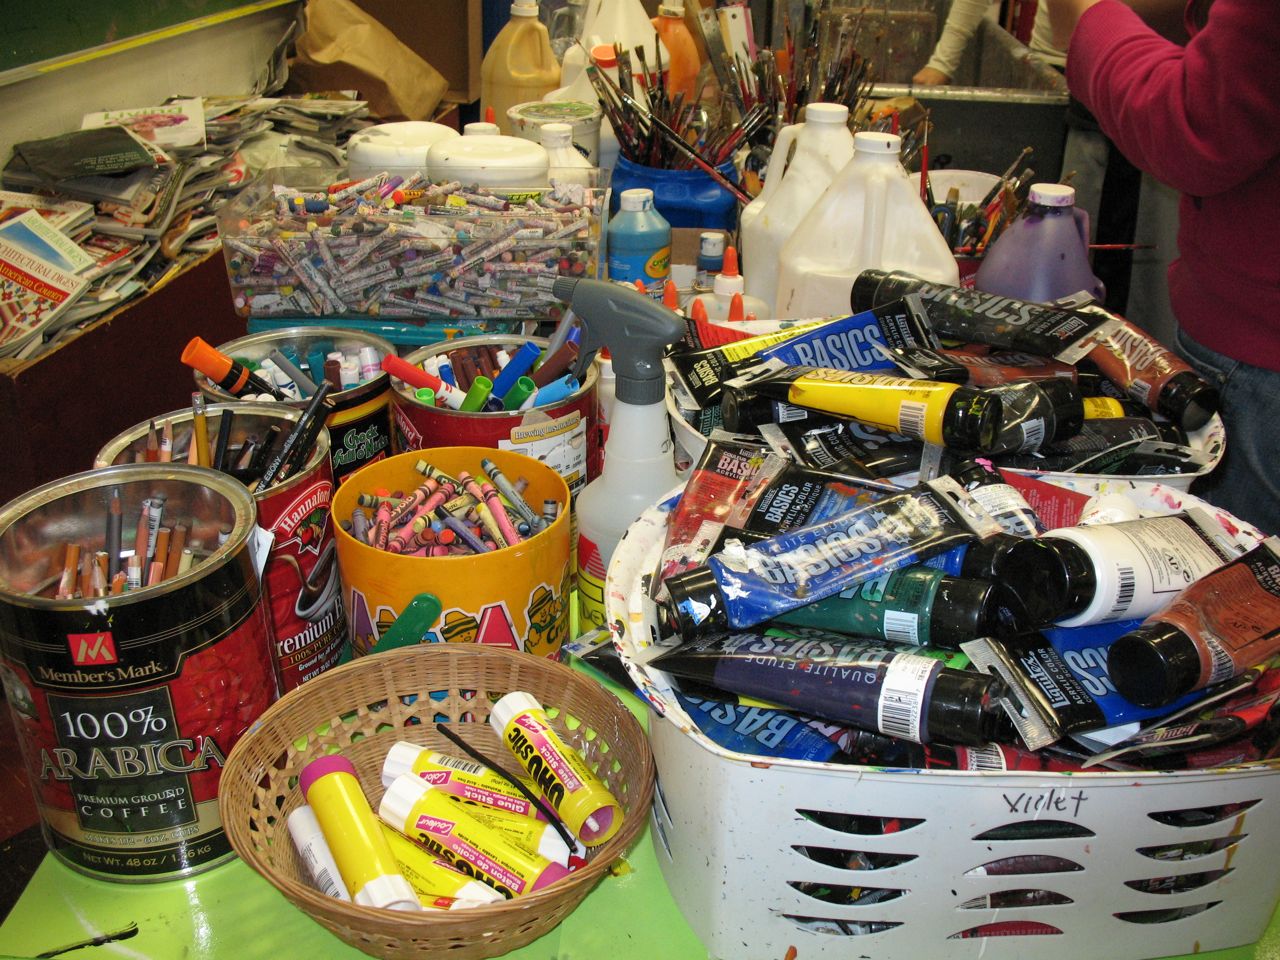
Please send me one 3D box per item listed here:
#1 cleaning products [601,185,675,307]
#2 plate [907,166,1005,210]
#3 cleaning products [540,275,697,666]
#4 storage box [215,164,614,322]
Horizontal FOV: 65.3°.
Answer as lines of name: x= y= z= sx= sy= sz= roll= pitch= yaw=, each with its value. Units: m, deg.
cleaning products: x=0.001 y=-0.326 z=1.420 sx=0.098 sy=0.162 sz=0.096 roll=-23 pitch=38 yaw=-29
plate: x=0.535 y=-0.485 z=1.665 sx=0.197 sy=0.072 sz=0.193 roll=5 pitch=20 yaw=13
cleaning products: x=-0.017 y=-0.001 z=0.995 sx=0.166 sy=0.375 sz=0.137 roll=9 pitch=24 yaw=16
storage box: x=-0.292 y=-0.295 z=1.355 sx=0.473 sy=0.191 sz=0.348 roll=-4 pitch=33 yaw=0
